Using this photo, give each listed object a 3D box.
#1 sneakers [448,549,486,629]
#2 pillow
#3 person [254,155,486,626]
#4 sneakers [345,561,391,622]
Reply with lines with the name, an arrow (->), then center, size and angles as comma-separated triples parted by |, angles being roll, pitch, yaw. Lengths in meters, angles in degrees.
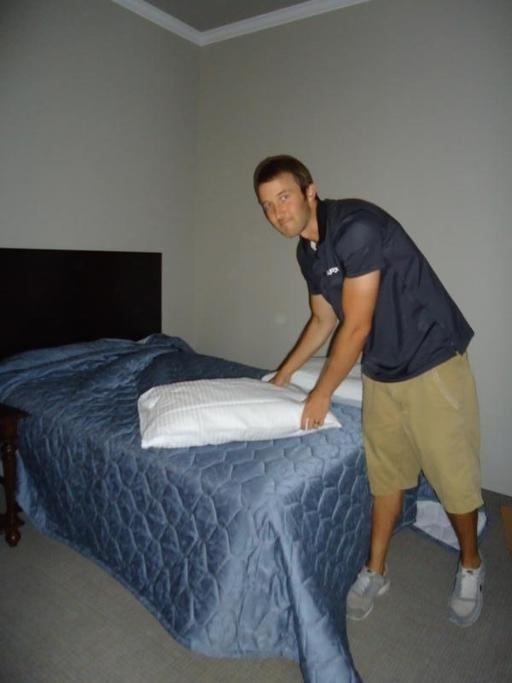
sneakers -> 0.651, 0.757, 1.621 | 0.087, 0.109, 0.255 | -8, 11, 35
pillow -> -0.052, 0.201, 1.577 | 0.483, 0.103, 0.341 | -7, 18, -13
person -> 0.337, 0.153, 1.635 | 0.567, 1.507, 0.450 | -11, 8, 15
sneakers -> 0.335, 0.743, 1.610 | 0.194, 0.094, 0.077 | -18, 19, -35
